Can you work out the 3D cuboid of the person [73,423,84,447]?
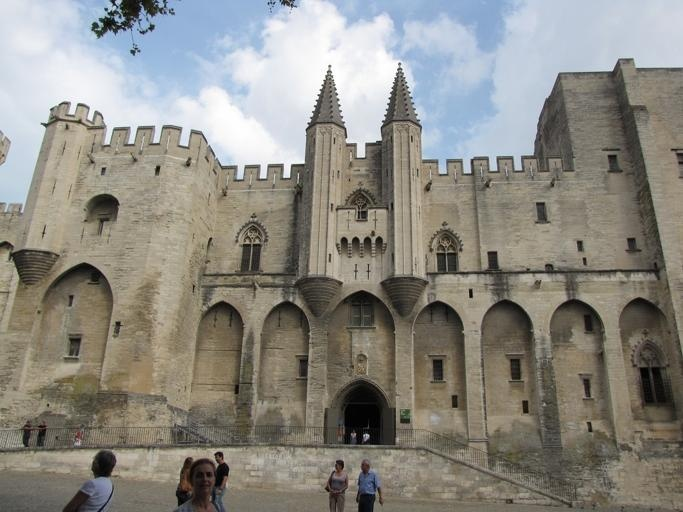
[{"bbox_3d":[-12.271,8.319,25.946,0.386,0.842,0.947,10,-21,-23],"label":"person"}]

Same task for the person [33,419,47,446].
[{"bbox_3d":[-14.090,8.289,26.070,0.429,1.038,1.841,11,-21,-25],"label":"person"}]

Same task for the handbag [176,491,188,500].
[{"bbox_3d":[-3.691,5.598,12.899,0.259,0.067,0.264,10,-13,-34],"label":"handbag"}]
